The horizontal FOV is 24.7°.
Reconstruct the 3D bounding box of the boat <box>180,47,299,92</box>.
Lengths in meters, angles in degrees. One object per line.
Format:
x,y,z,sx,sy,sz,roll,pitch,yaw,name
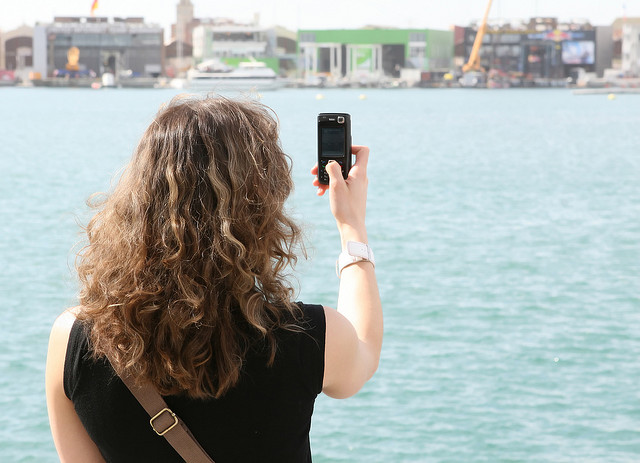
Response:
-4.121,-7.876,74.601,2.713,2.480,6.886,4,17,32,boat

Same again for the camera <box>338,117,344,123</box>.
0.385,-2.022,26.620,0.107,0.111,0.027,1,3,6,camera
